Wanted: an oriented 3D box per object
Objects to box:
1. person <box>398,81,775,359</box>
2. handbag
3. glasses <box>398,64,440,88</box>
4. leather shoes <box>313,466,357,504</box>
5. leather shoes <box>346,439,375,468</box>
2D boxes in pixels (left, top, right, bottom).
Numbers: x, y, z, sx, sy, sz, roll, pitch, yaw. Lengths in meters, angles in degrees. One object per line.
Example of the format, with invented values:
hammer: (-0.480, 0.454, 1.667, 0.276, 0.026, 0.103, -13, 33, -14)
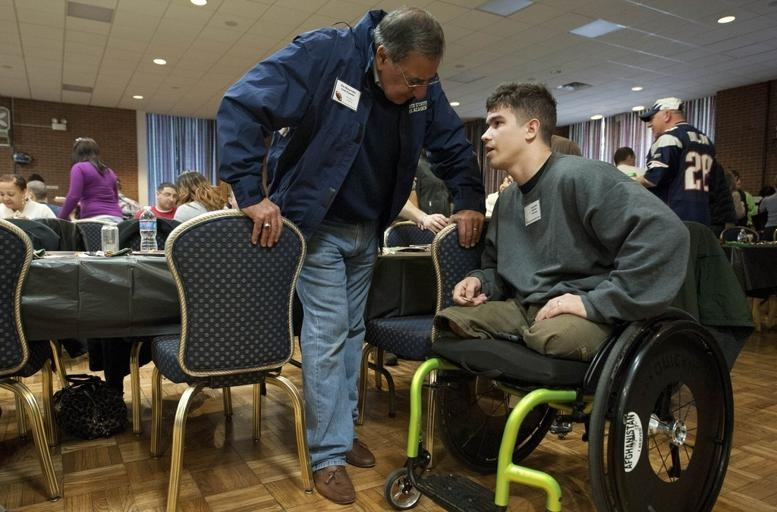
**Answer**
person: (0.671, -0.057, 2.879, 1.446, 1.446, 1.074, -3, -10, -11)
handbag: (-1.607, 0.817, 3.025, 0.291, 0.136, 0.396, 1, 10, -27)
glasses: (0.123, -0.795, 2.476, 0.149, 0.043, 0.144, -13, 39, -30)
leather shoes: (-0.239, 1.031, 2.560, 0.107, 0.079, 0.206, 2, 0, -32)
leather shoes: (-0.166, 0.986, 2.840, 0.080, 0.079, 0.206, 1, -2, -37)
